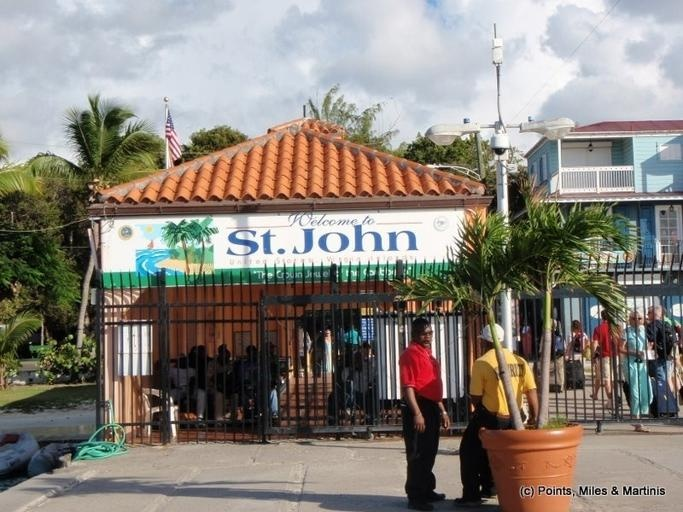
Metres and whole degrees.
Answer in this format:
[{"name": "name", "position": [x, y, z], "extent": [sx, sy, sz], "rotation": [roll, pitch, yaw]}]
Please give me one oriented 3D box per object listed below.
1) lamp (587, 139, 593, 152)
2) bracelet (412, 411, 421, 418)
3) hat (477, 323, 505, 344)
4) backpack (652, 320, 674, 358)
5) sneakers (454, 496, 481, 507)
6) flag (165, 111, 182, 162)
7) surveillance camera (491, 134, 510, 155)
[{"name": "lamp", "position": [10.268, -4.488, 35.525], "extent": [0.221, 0.358, 0.292], "rotation": [-4, -7, 15]}, {"name": "bracelet", "position": [1.116, 2.343, 12.856], "extent": [0.090, 0.074, 0.096], "rotation": [-3, -6, 16]}, {"name": "hat", "position": [2.301, 1.171, 13.096], "extent": [0.286, 0.210, 0.372], "rotation": [0, 3, 6]}, {"name": "backpack", "position": [6.388, 1.631, 17.196], "extent": [0.370, 0.776, 0.712], "rotation": [-3, -4, 17]}, {"name": "sneakers", "position": [1.889, 3.648, 12.959], "extent": [0.389, 0.213, 0.157], "rotation": [4, -2, 2]}, {"name": "flag", "position": [-5.426, -3.734, 27.391], "extent": [0.414, 2.437, 0.355], "rotation": [-4, -35, -11]}, {"name": "surveillance camera", "position": [2.847, -1.998, 15.520], "extent": [0.332, 0.372, 0.365], "rotation": [-3, -7, 10]}]
